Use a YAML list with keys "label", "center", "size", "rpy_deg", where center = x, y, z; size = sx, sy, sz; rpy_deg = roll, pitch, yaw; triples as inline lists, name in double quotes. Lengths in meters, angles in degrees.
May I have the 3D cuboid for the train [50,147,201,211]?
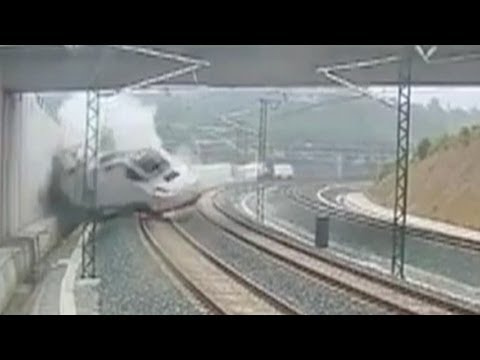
- label: "train"
  center: [-1.558, -0.019, 5.700]
  size: [1.396, 0.520, 1.023]
  rpy_deg: [4, 21, -1]
